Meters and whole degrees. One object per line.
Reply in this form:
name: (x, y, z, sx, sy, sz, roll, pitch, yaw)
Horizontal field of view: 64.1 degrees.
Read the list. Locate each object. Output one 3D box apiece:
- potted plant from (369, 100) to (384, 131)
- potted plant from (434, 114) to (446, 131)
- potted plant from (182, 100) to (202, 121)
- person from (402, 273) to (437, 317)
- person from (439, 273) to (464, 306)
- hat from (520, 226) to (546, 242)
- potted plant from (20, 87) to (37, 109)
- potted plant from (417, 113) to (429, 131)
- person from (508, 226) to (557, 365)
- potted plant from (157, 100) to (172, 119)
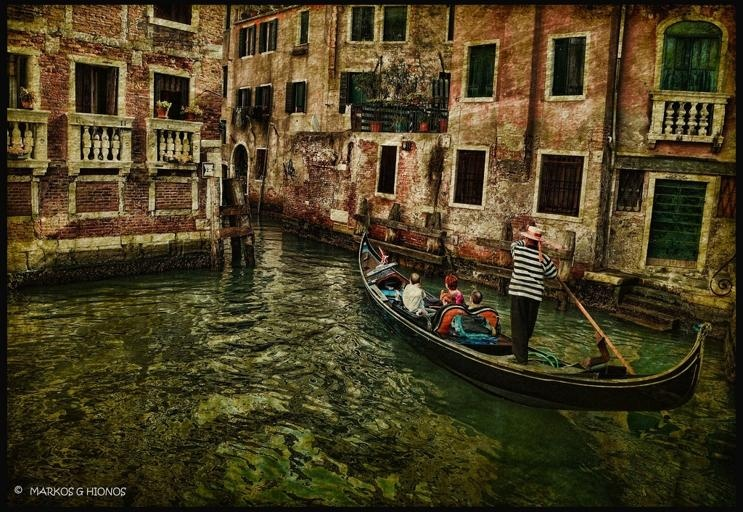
potted plant: (0.186, -5.043, 21.647, 0.425, 1.074, 0.576, 1, 8, -2)
potted plant: (2.370, -4.523, 20.338, 0.428, 0.599, 0.713, 1, 7, -2)
potted plant: (-5.373, -4.294, 17.762, 0.628, 0.500, 0.596, -3, 5, -19)
person: (1.138, 0.955, 14.171, 0.352, 0.632, 0.858, 21, -14, 6)
person: (1.910, 0.819, 14.168, 0.634, 0.955, 0.487, 2, 42, 7)
hat: (3.576, -0.484, 13.026, 0.598, 0.222, 0.650, 11, 9, 16)
potted plant: (-8.766, -4.018, 15.097, 0.386, 0.458, 0.713, -7, 21, -7)
potted plant: (1.816, -4.659, 20.733, 0.399, 0.615, 0.240, 3, 8, 15)
person: (2.864, 0.698, 10.915, 0.712, 2.464, 0.532, -5, 10, -35)
potted plant: (-6.052, -4.179, 17.109, 0.443, 0.488, 0.343, 1, 8, 0)
